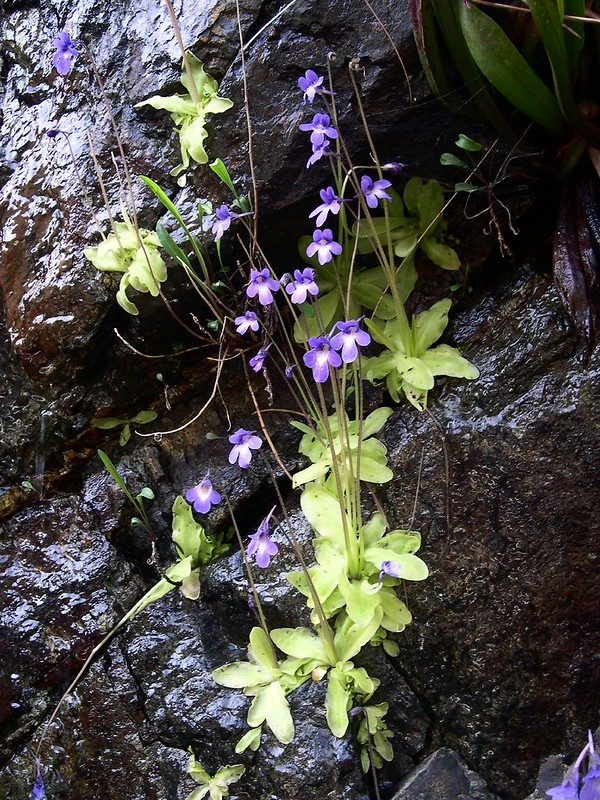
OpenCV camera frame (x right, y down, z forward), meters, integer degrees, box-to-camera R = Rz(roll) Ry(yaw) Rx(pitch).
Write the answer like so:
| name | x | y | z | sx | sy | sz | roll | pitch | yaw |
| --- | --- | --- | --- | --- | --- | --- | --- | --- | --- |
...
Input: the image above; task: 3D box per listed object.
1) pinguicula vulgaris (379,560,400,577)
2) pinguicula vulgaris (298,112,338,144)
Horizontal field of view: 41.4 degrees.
| name | x | y | z | sx | sy | sz | roll | pitch | yaw |
| --- | --- | --- | --- | --- | --- | --- | --- | --- | --- |
| pinguicula vulgaris | 0.272 | 0.526 | 2.448 | 0.068 | 0.032 | 0.069 | 6 | 24 | -14 |
| pinguicula vulgaris | 0.055 | -0.851 | 2.498 | 0.143 | 0.043 | 0.121 | -1 | 75 | -9 |
